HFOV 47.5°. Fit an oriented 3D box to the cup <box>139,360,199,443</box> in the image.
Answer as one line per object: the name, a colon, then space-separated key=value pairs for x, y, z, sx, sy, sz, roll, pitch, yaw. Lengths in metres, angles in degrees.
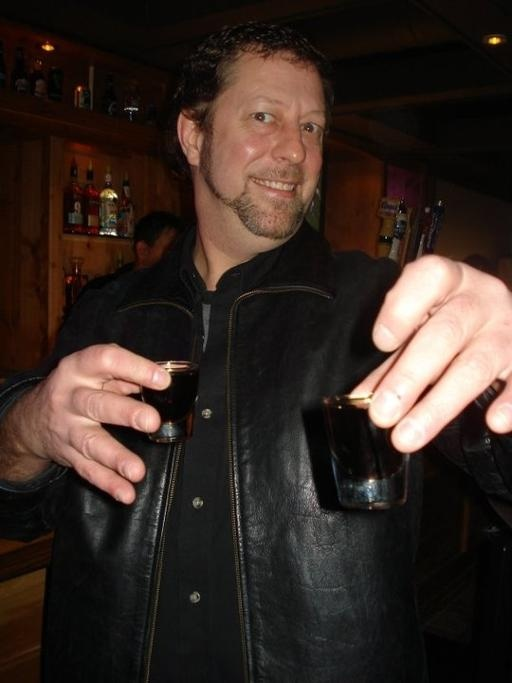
cup: x=-0.168 y=0.121 z=1.112 sx=0.119 sy=0.132 sz=0.118 roll=0 pitch=6 yaw=0

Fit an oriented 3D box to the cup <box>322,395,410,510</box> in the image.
cup: x=0.161 y=0.165 z=0.878 sx=0.118 sy=0.192 sz=0.102 roll=-3 pitch=16 yaw=-37

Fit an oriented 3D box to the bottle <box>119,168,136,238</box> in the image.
bottle: x=-0.890 y=-0.943 z=3.990 sx=0.110 sy=0.426 sz=0.105 roll=2 pitch=11 yaw=0
